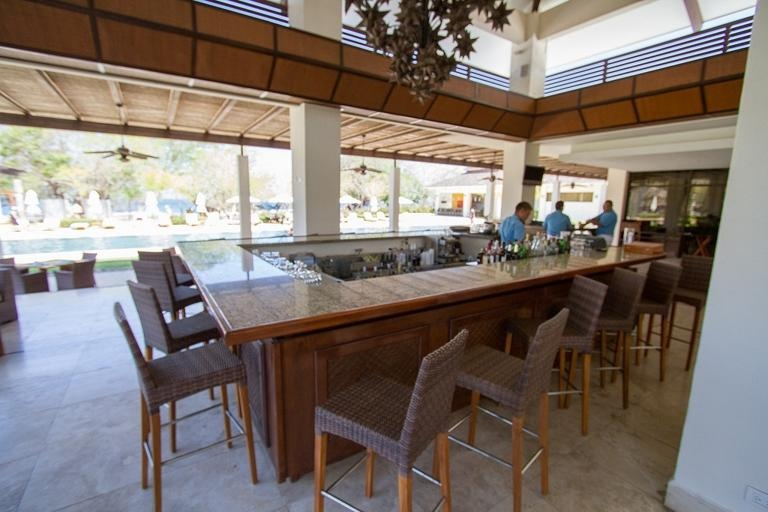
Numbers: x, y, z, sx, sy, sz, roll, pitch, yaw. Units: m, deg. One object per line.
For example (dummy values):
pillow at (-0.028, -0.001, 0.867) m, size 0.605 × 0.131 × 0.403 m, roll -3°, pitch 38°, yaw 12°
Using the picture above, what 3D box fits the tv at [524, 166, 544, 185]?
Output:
tv at (3.752, -2.032, 12.727) m, size 0.544 × 0.399 × 0.070 m, roll -2°, pitch 22°, yaw -22°

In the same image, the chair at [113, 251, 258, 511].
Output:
chair at (-2.256, 1.544, 5.850) m, size 0.989 × 1.779 × 2.400 m, roll -6°, pitch 16°, yaw -26°

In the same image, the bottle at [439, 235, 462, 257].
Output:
bottle at (1.179, -0.184, 9.110) m, size 0.366 × 0.332 × 0.174 m, roll -4°, pitch 8°, yaw -29°
